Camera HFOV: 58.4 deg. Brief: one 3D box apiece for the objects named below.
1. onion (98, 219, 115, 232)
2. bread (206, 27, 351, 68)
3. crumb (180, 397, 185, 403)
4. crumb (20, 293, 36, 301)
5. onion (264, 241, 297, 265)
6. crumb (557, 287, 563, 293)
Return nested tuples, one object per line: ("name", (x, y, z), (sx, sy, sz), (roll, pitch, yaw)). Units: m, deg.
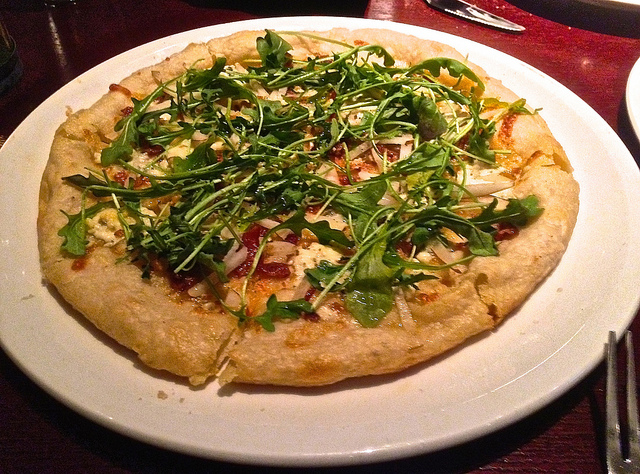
("onion", (-1.332, -0.076, 3.577), (0.102, 0.024, 0.067), (15, 89, 5))
("bread", (-0.339, -1.509, 4.557), (0.960, 0.087, 0.423), (0, 38, -1))
("crumb", (-0.730, 0.860, 3.030), (0.023, 0.018, 0.033), (-14, 62, -6))
("crumb", (-1.673, 0.347, 3.285), (0.033, 0.011, 0.055), (26, 32, 28))
("onion", (-0.246, 0.097, 3.551), (0.201, 0.049, 0.145), (-2, 60, -1))
("crumb", (1.417, 0.316, 3.400), (0.031, 0.014, 0.027), (1, 36, 7))
